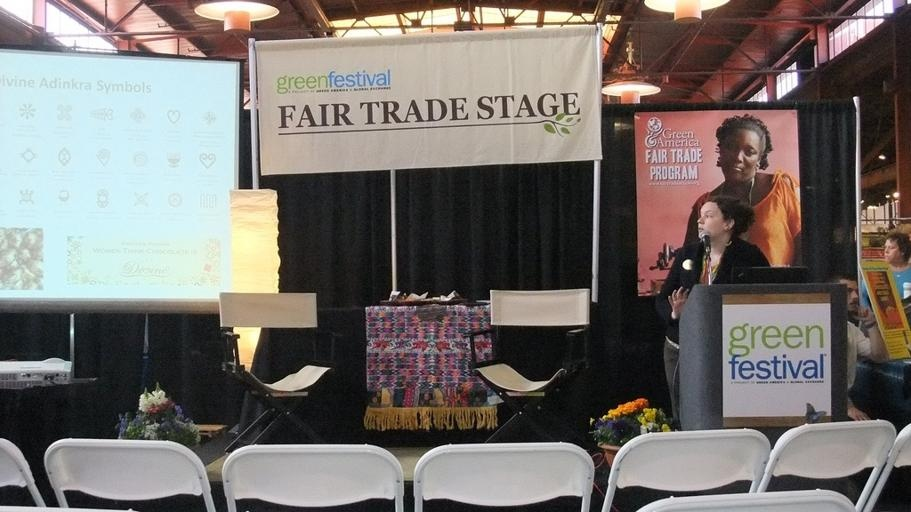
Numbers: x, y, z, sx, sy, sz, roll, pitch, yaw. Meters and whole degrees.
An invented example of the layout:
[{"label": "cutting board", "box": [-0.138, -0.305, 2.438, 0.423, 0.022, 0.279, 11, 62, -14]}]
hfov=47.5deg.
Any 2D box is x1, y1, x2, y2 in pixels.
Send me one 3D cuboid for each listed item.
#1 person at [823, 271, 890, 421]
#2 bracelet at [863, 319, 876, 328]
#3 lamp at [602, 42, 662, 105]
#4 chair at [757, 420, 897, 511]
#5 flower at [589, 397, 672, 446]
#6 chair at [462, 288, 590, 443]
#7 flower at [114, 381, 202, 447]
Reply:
[{"label": "person", "box": [4.332, 0.959, 11.036, 0.497, 1.489, 1.110, -1, 0, 19]}, {"label": "bracelet", "box": [4.365, 0.702, 10.875, 0.121, 0.076, 0.148, -1, -1, 20]}, {"label": "lamp", "box": [2.498, -2.559, 14.832, 0.722, 0.967, 2.857, -1, -1, 10]}, {"label": "chair", "box": [3.428, 1.797, 9.717, 0.980, 1.223, 0.962, 0, -3, -4]}, {"label": "flower", "box": [1.786, 1.697, 10.642, 0.582, 0.308, 0.576, -2, -5, 11]}, {"label": "chair", "box": [0.763, 1.194, 11.072, 1.507, 1.949, 0.967, -1, -11, 12]}, {"label": "flower", "box": [-3.074, 1.657, 10.719, 0.802, 0.627, 0.443, -1, 0, -20]}]
